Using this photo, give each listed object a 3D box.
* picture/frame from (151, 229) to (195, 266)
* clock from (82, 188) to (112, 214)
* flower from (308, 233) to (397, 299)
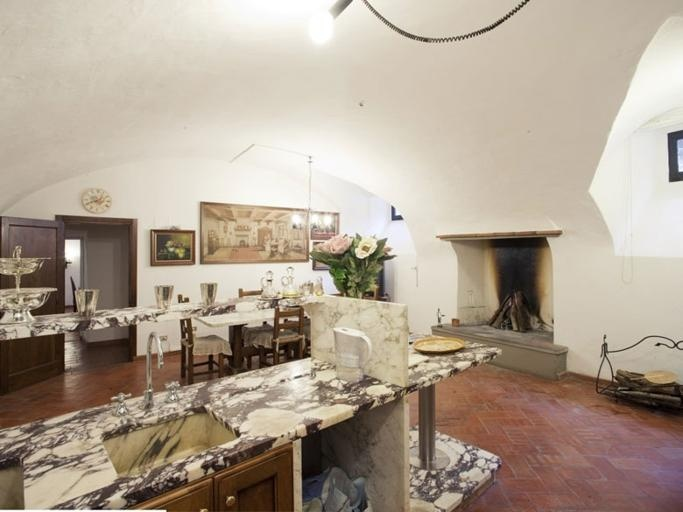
[{"bbox_3d":[-2.703,-0.141,7.001,0.551,0.572,0.040,0,-1,-34],"label":"picture/frame"},{"bbox_3d":[-3.652,-0.796,6.636,0.354,0.374,0.357,11,-3,-35],"label":"clock"},{"bbox_3d":[0.087,0.040,3.210,0.499,0.440,0.480,-6,4,23],"label":"flower"}]
